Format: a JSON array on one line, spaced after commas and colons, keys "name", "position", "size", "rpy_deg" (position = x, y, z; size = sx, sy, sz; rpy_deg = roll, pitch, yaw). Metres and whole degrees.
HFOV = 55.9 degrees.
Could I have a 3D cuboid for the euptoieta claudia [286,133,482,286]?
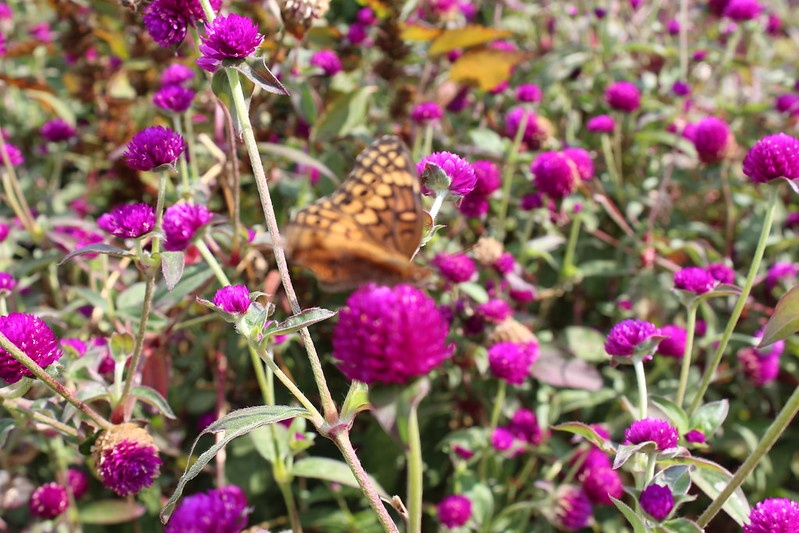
[{"name": "euptoieta claudia", "position": [-0.086, -0.125, 1.884], "size": [0.362, 0.329, 0.245], "rpy_deg": [11, 37, 4]}]
